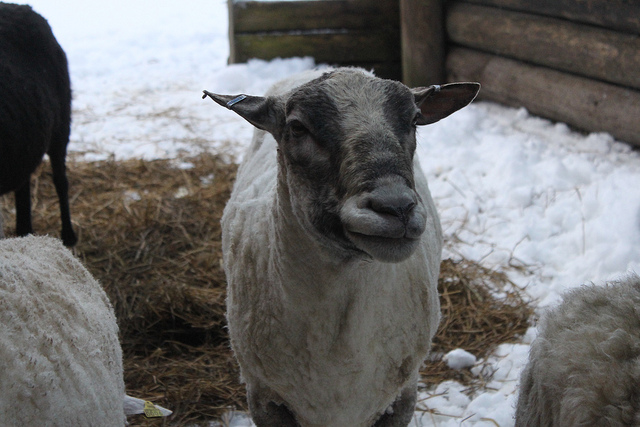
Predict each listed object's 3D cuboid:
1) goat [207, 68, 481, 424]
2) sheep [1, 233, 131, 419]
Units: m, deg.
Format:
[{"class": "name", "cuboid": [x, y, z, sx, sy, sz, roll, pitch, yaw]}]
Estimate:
[{"class": "goat", "cuboid": [0.118, 0.308, 8.525, 1.903, 3.080, 1.423, 4, 23, 7]}, {"class": "sheep", "cuboid": [-2.205, 1.037, 8.270, 0.994, 1.411, 1.195, -5, 24, -13]}]
